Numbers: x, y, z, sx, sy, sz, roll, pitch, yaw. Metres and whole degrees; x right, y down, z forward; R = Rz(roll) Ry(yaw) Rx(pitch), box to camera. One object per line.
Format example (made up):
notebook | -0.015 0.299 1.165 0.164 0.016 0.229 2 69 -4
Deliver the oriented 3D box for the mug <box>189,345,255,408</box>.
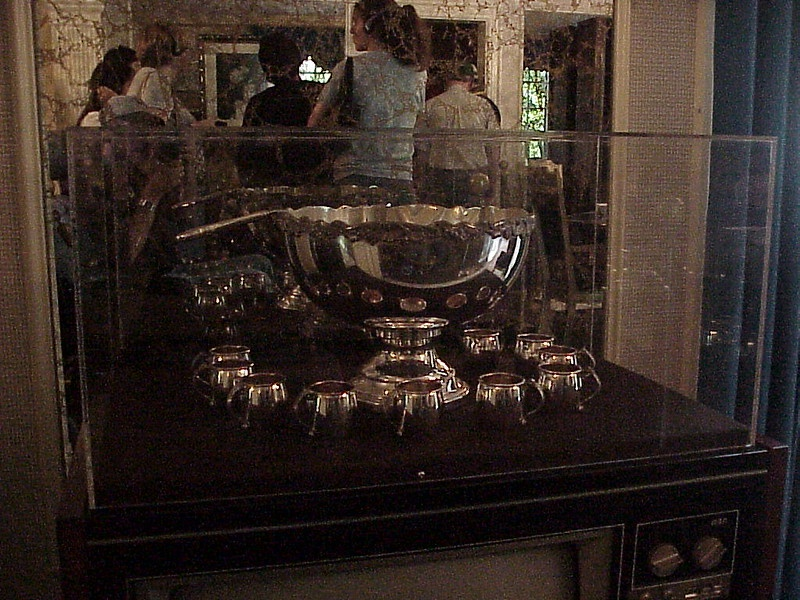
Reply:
mug | -0.257 0.105 1.206 0.058 0.066 0.093 6 15 24

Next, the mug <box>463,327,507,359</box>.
mug | 0.133 0.066 1.348 0.050 0.031 0.049 -3 6 -45

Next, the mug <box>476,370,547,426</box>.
mug | 0.161 0.148 1.227 0.092 0.060 0.058 2 -2 -13

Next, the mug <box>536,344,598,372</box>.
mug | 0.261 0.087 1.317 0.070 0.048 0.043 1 1 -7

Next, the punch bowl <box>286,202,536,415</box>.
punch bowl | 0.018 0.004 1.401 0.392 0.315 0.425 0 6 0

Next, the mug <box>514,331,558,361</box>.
mug | 0.209 0.071 1.340 0.047 0.034 0.047 1 -3 5

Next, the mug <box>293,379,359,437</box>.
mug | -0.108 0.157 1.190 0.091 0.064 0.055 2 3 -12

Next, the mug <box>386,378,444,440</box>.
mug | 0.017 0.156 1.206 0.086 0.062 0.068 1 3 -37

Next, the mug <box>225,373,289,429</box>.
mug | -0.198 0.139 1.201 0.102 0.070 0.076 -10 14 -42

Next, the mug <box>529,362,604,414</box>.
mug | 0.257 0.134 1.279 0.097 0.065 0.062 1 6 4
